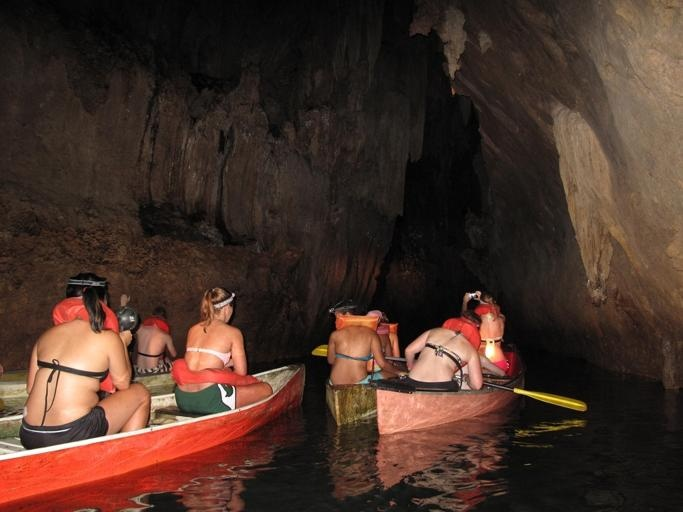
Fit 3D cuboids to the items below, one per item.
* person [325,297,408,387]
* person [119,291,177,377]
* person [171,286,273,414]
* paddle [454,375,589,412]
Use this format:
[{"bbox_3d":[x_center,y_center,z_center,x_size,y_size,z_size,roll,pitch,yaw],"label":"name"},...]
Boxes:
[{"bbox_3d":[0.279,1.138,9.452,0.829,1.124,1.098,3,2,30],"label":"person"},{"bbox_3d":[-2.537,1.130,10.064,0.734,0.920,0.682,0,16,-38],"label":"person"},{"bbox_3d":[-1.346,1.057,8.404,1.160,1.399,1.023,3,7,1],"label":"person"},{"bbox_3d":[2.289,1.735,9.250,1.755,0.201,0.070,13,21,13],"label":"paddle"}]
